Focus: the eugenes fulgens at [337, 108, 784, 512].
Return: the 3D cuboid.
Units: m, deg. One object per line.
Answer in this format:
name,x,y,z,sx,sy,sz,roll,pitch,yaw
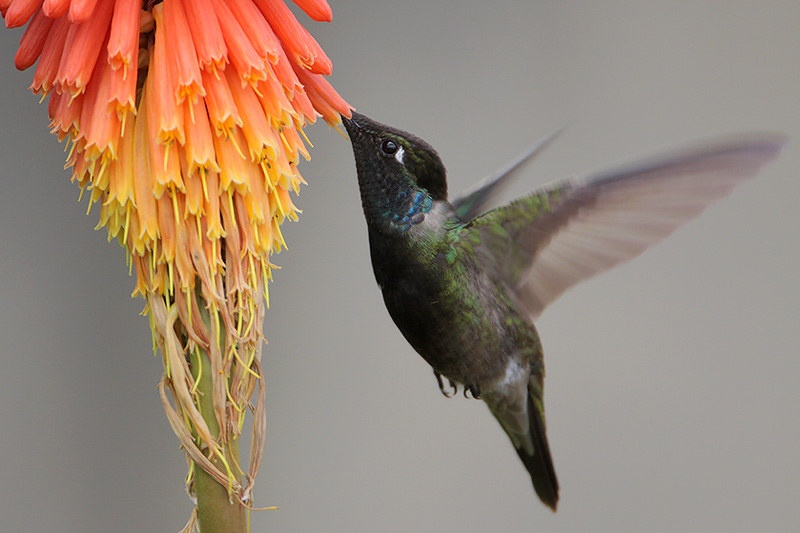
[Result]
eugenes fulgens,0.234,0.057,1.582,0.552,0.547,0.605,16,-13,43
